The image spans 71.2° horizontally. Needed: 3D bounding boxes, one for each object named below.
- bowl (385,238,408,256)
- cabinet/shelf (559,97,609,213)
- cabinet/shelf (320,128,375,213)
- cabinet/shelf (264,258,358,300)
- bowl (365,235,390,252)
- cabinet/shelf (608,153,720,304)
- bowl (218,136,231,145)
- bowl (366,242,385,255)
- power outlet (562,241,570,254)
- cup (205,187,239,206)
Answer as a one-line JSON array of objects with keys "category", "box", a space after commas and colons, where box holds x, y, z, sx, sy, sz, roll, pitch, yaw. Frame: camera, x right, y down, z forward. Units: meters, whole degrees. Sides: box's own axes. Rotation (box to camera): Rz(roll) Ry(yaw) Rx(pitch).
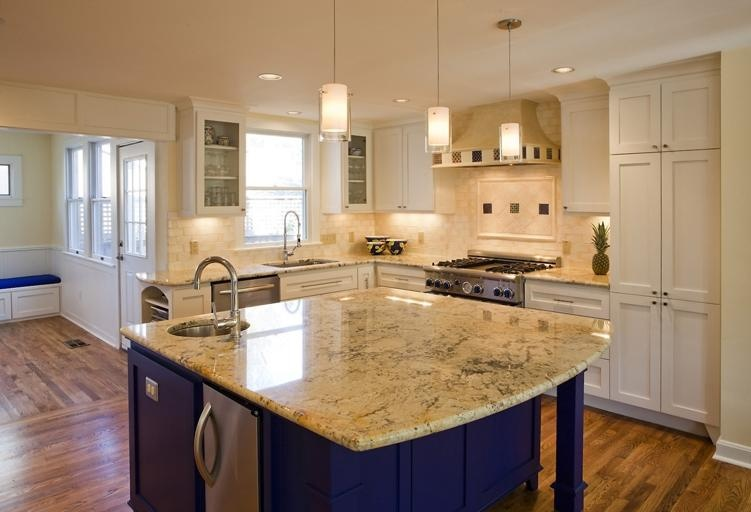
[{"category": "bowl", "box": [0.274, -0.117, 6.831, 0.232, 0.159, 0.223, 0, 4, 0]}, {"category": "cabinet/shelf", "box": [2.053, -0.986, 5.133, 0.543, 1.124, 0.275, 7, 17, 28]}, {"category": "cabinet/shelf", "box": [-0.355, -1.096, 6.801, 0.747, 1.073, 0.512, -4, 15, -9]}, {"category": "cabinet/shelf", "box": [-0.639, 0.270, 6.051, 1.115, 0.421, 0.125, -13, 19, -39]}, {"category": "bowl", "box": [0.007, -0.163, 6.918, 0.234, 0.147, 0.229, -1, 2, 0]}, {"category": "cabinet/shelf", "box": [2.480, -0.270, 4.516, 0.925, 1.248, 0.418, 6, 17, 25]}, {"category": "bowl", "box": [-1.645, -1.236, 5.664, 0.103, 0.088, 0.099, 1, -1, 0]}, {"category": "bowl", "box": [0.021, -0.083, 6.840, 0.196, 0.121, 0.189, 0, -2, 0]}, {"category": "power outlet", "box": [2.045, -0.084, 5.602, 0.092, 0.144, 0.034, 6, 17, 27]}, {"category": "cup", "box": [-1.653, -0.662, 5.645, 0.250, 0.227, 0.255, -1, 1, 0]}]
